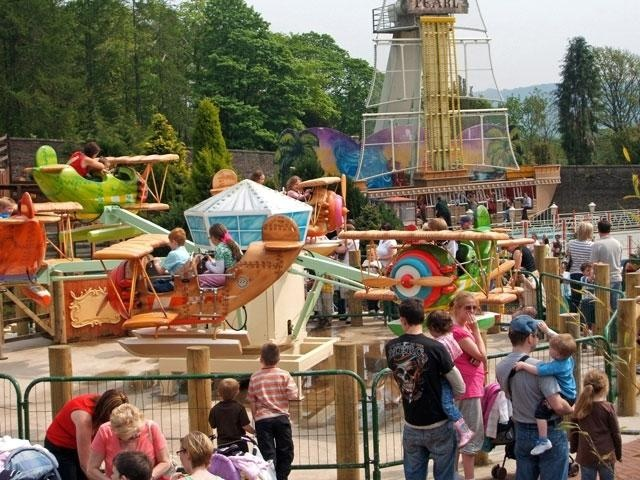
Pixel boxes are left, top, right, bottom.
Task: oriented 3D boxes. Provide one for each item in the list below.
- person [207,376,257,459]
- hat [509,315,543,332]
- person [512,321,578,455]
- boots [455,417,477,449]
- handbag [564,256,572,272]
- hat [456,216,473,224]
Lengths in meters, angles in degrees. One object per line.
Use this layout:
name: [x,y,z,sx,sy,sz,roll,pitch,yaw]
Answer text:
person: [-1.669,3.311,23.607,0.828,1.357,0.453,-1,-2,-5]
hat: [3.728,1.566,23.169,0.376,0.213,0.300,-6,9,-19]
person: [4.188,2.760,23.312,1.007,2.490,0.678,-1,-2,12]
boots: [2.607,3.566,23.068,0.333,0.555,0.645,-1,-2,7]
handbag: [6.120,0.624,31.331,0.134,0.099,0.435,-22,25,34]
hat: [4.047,-0.568,35.702,0.544,0.310,0.741,1,-1,4]
